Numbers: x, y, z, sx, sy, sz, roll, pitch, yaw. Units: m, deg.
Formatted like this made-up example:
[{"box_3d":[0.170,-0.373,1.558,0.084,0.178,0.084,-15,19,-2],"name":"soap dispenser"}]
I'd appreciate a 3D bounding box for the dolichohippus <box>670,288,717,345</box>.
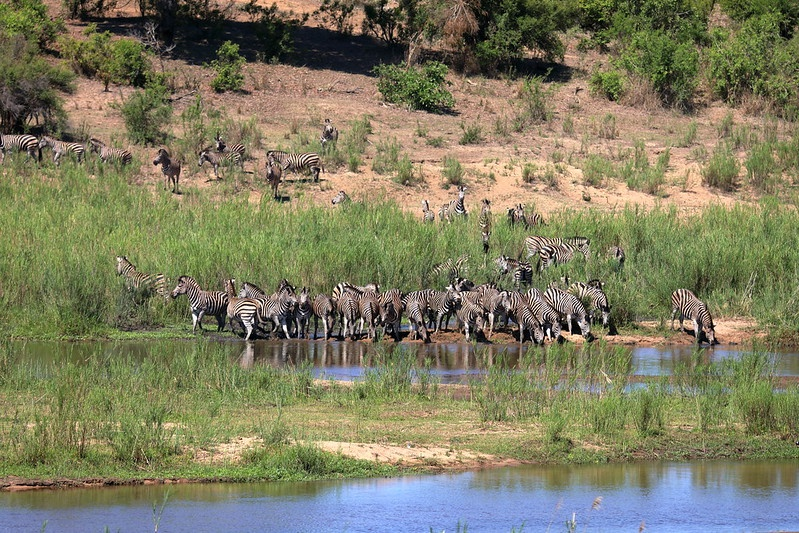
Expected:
[{"box_3d":[9.359,1.578,48.168,0.692,1.707,1.652,-2,2,-33],"name":"dolichohippus"}]
